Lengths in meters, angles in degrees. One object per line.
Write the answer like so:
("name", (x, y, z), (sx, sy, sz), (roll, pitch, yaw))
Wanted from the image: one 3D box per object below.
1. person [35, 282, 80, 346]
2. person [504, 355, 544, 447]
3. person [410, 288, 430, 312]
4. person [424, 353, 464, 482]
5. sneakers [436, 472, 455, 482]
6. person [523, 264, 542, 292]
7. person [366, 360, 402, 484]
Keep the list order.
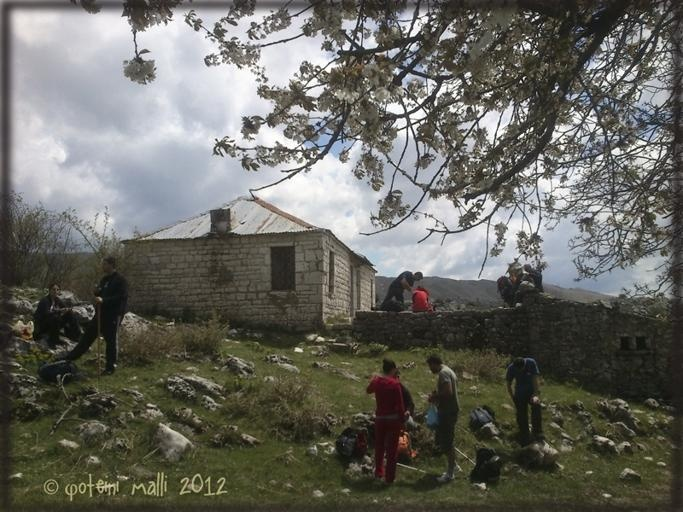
("person", (-6.710, 1.310, 14.117), (1.024, 1.320, 0.732), (2, 10, 11))
("person", (3.990, 3.114, 13.077), (0.592, 1.725, 0.990), (-3, 12, -27))
("person", (2.778, 1.534, 21.143), (0.704, 0.714, 1.297), (4, 11, 8))
("person", (2.063, 3.197, 12.200), (0.631, 2.196, 1.127), (2, 10, -5))
("sneakers", (2.014, 4.322, 11.930), (0.306, 0.158, 0.141), (-1, -11, -1))
("person", (5.361, 0.683, 17.177), (0.502, 0.778, 0.268), (5, -4, 2))
("person", (0.858, 3.226, 11.971), (0.826, 2.334, 0.716), (1, 1, 29))
